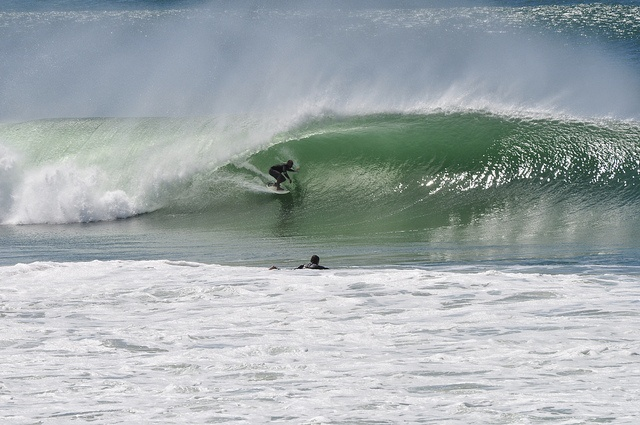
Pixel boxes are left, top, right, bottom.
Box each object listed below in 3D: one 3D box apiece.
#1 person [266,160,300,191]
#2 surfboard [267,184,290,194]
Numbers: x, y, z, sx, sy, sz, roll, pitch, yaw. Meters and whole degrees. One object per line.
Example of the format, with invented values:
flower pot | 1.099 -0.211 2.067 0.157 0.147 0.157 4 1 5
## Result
person | -1.283 -1.392 39.580 1.019 1.062 0.722 1 0 -2
surfboard | -1.461 -0.838 39.425 0.896 0.341 0.244 1 0 23
